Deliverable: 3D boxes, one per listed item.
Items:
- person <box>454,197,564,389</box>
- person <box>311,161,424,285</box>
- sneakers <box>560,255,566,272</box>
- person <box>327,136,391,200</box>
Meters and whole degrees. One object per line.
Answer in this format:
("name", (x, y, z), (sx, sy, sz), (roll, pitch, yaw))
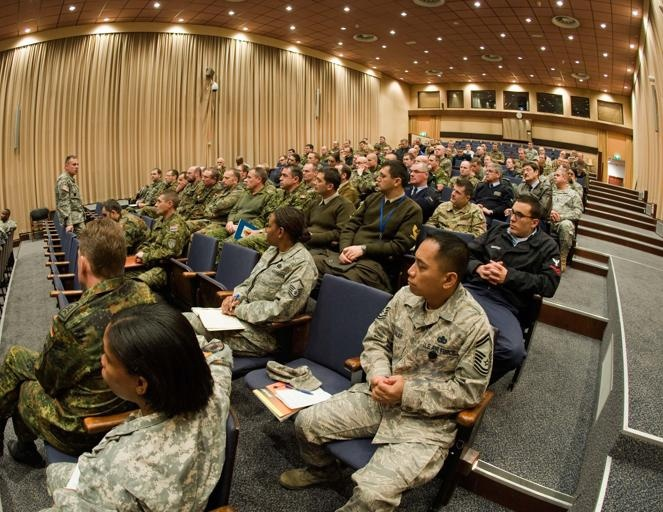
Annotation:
("person", (1.197, 0.256, 2.931), (0.765, 1.376, 0.672), (0, 12, -41))
("person", (0.268, -0.219, 3.457), (0.951, 1.182, 0.739), (-11, 23, -39))
("sneakers", (2.548, 0.078, 4.476), (0.061, 0.190, 0.100), (1, -10, 40))
("person", (0.288, -1.139, 6.139), (0.484, 1.077, 0.862), (17, -9, -37))
